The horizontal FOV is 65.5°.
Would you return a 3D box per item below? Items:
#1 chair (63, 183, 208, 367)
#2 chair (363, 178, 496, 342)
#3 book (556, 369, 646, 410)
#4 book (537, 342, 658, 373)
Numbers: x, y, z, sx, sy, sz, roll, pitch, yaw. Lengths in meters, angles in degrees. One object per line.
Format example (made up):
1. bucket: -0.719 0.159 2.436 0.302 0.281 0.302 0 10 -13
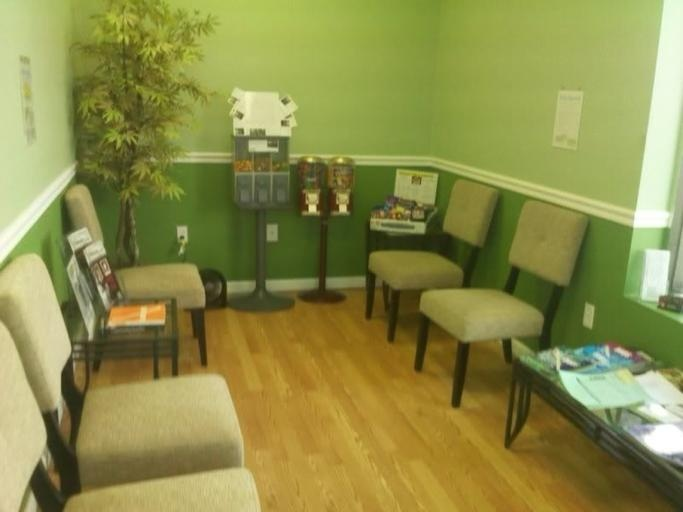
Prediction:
1. chair: -1.325 0.121 3.507 0.763 1.209 0.606 -7 16 -22
2. chair: 0.680 -0.093 4.556 1.049 1.674 1.096 2 13 -14
3. book: 1.184 0.611 2.398 0.196 0.069 0.189 -13 12 -13
4. book: 1.262 0.515 2.624 0.370 0.072 0.245 -1 25 -20
